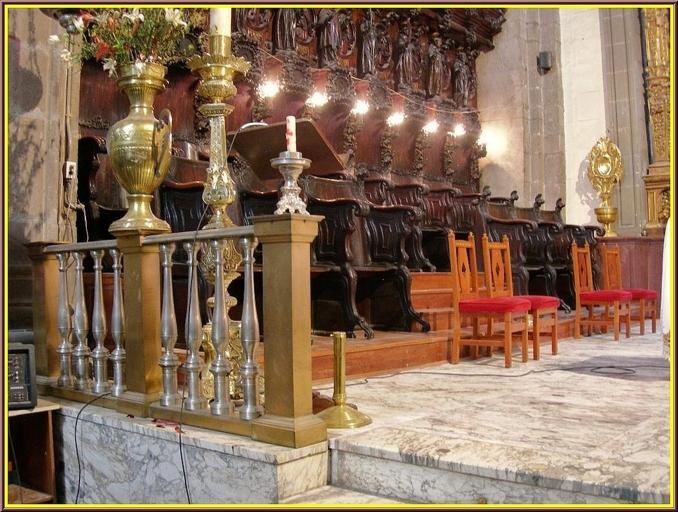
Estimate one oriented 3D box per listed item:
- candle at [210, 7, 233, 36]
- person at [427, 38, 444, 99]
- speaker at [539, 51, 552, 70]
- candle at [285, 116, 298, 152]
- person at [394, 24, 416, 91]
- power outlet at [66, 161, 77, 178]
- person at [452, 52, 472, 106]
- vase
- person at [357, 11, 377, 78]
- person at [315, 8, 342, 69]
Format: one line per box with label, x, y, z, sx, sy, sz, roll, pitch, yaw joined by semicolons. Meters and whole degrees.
candle;-0.593;-1.182;3.377;0.111;0.135;0.103;-9;10;-29
person;1.492;-2.967;10.391;0.194;0.990;0.539;0;9;25
speaker;3.485;-3.297;11.281;0.249;0.322;0.160;-2;9;14
candle;-0.224;-0.564;3.106;0.042;0.162;0.124;-5;9;-6
person;0.968;-2.943;9.888;0.280;1.051;0.516;-2;9;12
power outlet;-1.888;-0.607;4.698;0.042;0.136;0.096;-1;9;15
person;1.991;-2.897;10.914;0.225;0.946;0.503;-1;9;17
vase;-1.071;-0.568;3.569;0.374;0.912;0.385;-6;9;-14
person;0.378;-2.952;9.288;0.239;0.947;0.404;-1;9;16
person;-0.132;-2.840;8.712;0.325;0.770;0.300;-4;8;0
